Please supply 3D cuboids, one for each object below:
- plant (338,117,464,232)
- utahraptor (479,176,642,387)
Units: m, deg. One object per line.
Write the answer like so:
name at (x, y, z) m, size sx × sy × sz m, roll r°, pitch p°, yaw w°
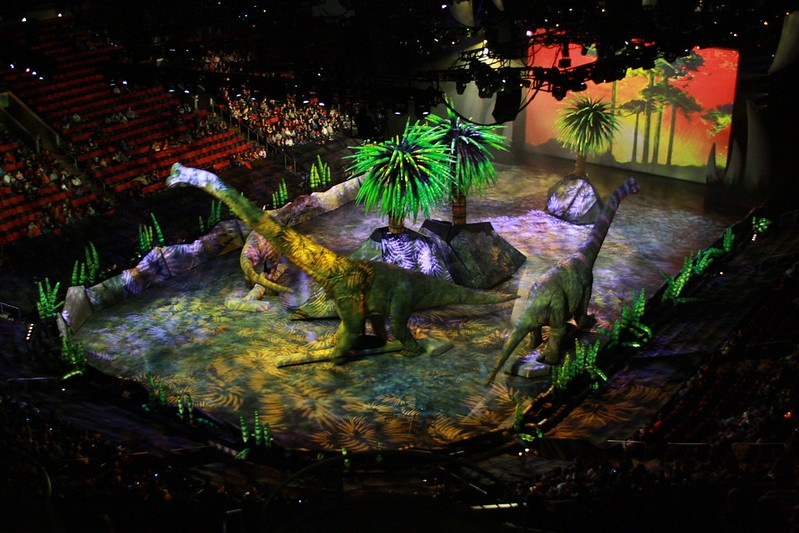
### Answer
plant at (1.038, -2.411, 17.229) m, size 3.826 × 3.039 × 3.370 m, roll -24°, pitch 22°, yaw -30°
utahraptor at (4.078, 0.477, 14.700) m, size 1.330 × 2.653 × 7.744 m, roll 22°, pitch 46°, yaw 33°
